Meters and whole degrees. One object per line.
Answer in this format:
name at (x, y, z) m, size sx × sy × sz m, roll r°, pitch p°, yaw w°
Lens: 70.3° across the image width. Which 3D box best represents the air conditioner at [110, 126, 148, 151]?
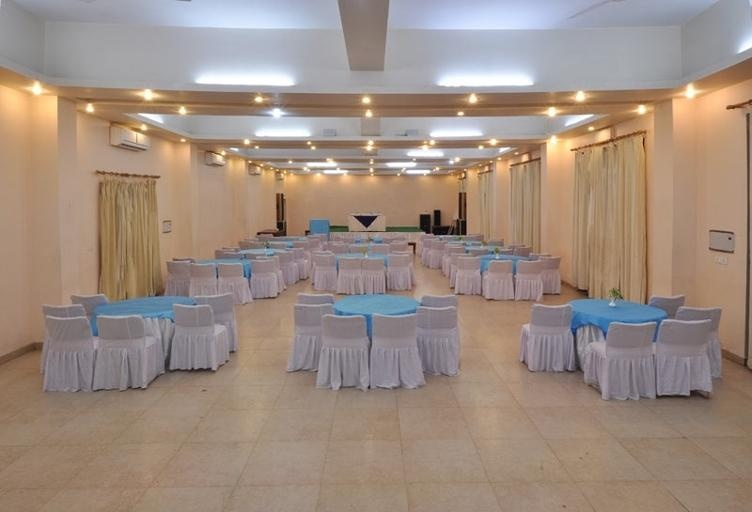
air conditioner at (-5.951, -2.842, 12.890) m, size 0.308 × 0.421 × 1.040 m, roll -1°, pitch 4°, yaw 12°
